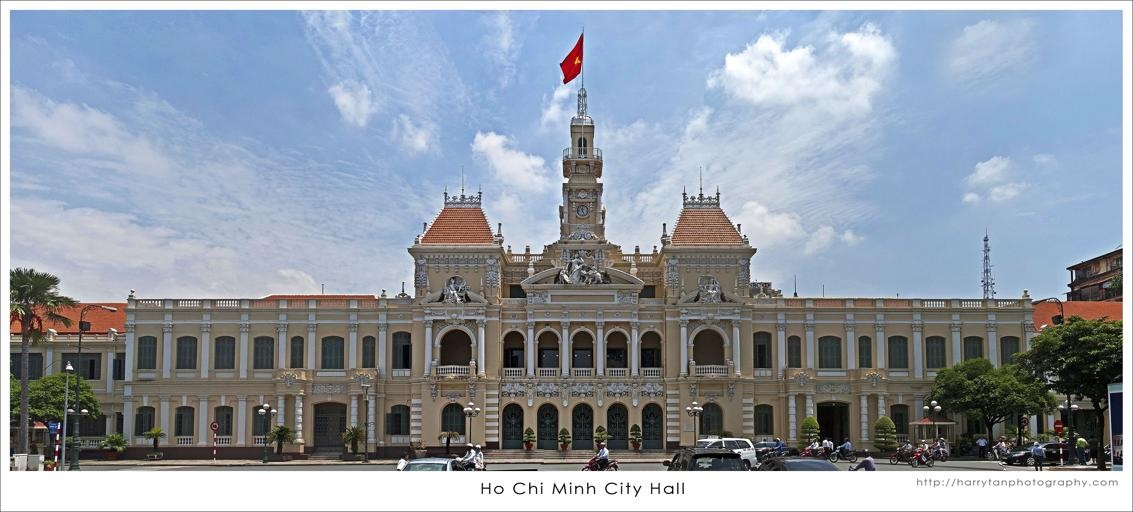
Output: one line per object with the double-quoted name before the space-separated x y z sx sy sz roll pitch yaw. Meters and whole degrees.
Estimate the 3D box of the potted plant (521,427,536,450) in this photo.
"potted plant" -4.011 20.564 148.851 1.169 2.428 0.741 1 3 3

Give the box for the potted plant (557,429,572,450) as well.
"potted plant" 0.013 20.585 148.603 1.288 2.339 0.658 -1 4 -21

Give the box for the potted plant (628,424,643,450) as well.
"potted plant" 7.990 20.429 149.264 1.396 2.733 1.161 1 3 2

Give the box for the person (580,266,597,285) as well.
"person" 2.783 2.258 151.410 1.652 1.993 0.758 0 3 -1

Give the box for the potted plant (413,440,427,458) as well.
"potted plant" -16.299 21.573 148.494 1.566 1.390 2.174 -1 3 -17

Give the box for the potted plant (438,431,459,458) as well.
"potted plant" -12.795 20.824 147.704 2.232 2.653 3.288 0 3 -10

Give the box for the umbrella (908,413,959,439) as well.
"umbrella" 41.172 18.458 147.031 5.076 2.194 3.664 0 -10 -6

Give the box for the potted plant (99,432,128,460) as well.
"potted plant" -50.786 21.507 148.878 2.483 2.666 1.055 -1 4 -18

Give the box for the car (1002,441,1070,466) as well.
"car" 48.421 20.444 136.265 6.938 1.648 2.601 0 -12 5
